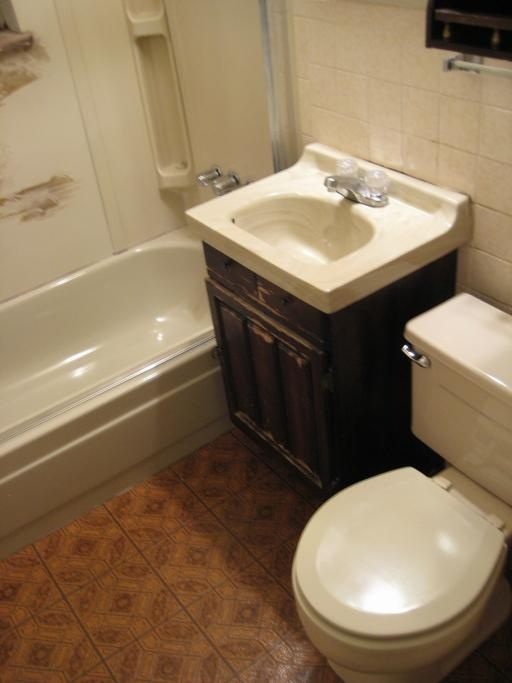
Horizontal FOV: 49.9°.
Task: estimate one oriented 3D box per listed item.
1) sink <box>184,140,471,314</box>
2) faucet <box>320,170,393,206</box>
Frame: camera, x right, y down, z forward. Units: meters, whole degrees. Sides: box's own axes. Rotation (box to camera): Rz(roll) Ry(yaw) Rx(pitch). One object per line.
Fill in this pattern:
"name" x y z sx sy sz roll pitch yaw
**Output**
"sink" 0.147 -0.295 1.350 0.438 0.237 0.570 -25 34 -26
"faucet" 0.251 -0.376 1.349 0.139 0.050 0.042 28 72 18
